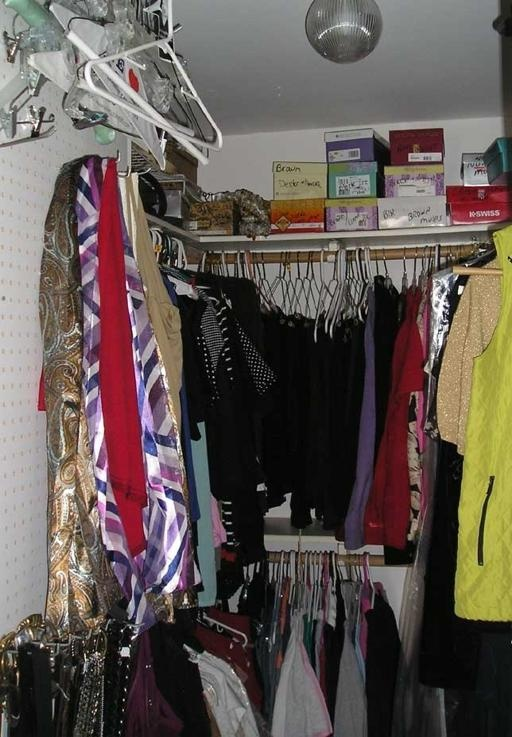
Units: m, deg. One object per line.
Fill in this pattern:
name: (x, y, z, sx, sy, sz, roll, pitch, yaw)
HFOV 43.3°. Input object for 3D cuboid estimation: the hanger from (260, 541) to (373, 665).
hanger: (0.234, 0.732, 2.196, 0.373, 0.314, 0.618, -1, -1, 10)
